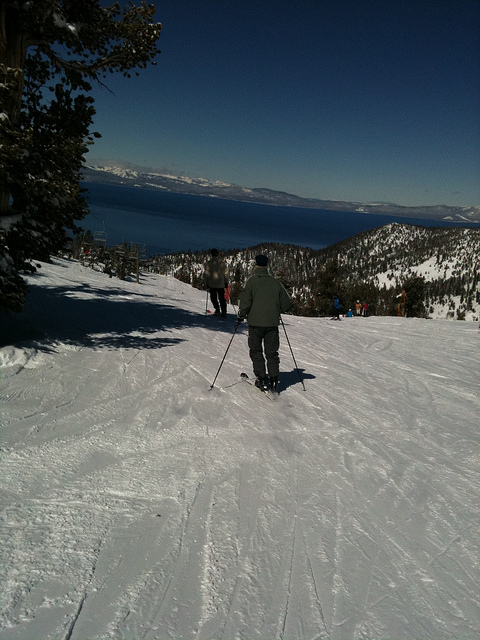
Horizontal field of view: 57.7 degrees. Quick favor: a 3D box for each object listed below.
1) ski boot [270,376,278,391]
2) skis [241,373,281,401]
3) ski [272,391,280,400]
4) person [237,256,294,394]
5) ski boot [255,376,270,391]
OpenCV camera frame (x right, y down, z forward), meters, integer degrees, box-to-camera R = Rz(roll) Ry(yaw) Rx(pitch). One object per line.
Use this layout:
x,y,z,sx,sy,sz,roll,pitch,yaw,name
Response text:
0.527,0.997,6.872,0.080,0.275,0.181,-1,-8,7,ski boot
0.325,1.064,6.856,0.095,0.095,0.648,36,8,-32,skis
0.570,1.176,6.814,0.074,0.021,0.089,14,39,-38,ski
0.360,0.080,6.886,0.841,2.127,0.611,6,8,-3,person
0.358,1.011,6.902,0.209,0.239,0.059,0,-2,14,ski boot
